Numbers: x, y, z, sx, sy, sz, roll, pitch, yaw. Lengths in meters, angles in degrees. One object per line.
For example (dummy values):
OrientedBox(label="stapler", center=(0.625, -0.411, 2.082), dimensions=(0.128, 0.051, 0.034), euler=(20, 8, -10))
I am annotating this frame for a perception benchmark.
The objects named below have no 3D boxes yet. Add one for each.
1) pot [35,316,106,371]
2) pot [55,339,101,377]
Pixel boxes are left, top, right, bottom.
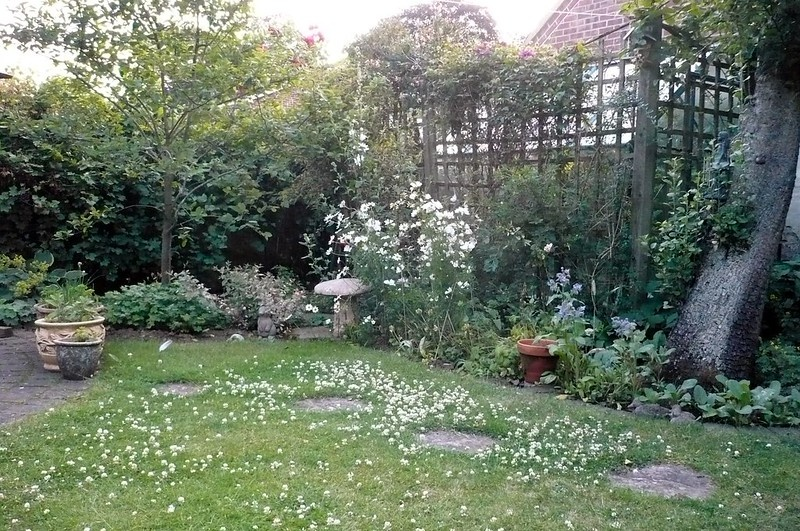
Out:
OrientedBox(label="pot", center=(-3.492, 0.767, 6.510), dimensions=(0.625, 0.468, 0.624), euler=(1, -1, 0))
OrientedBox(label="pot", center=(-3.331, 0.931, 6.336), dimensions=(0.395, 0.310, 0.399), euler=(1, -2, 0))
